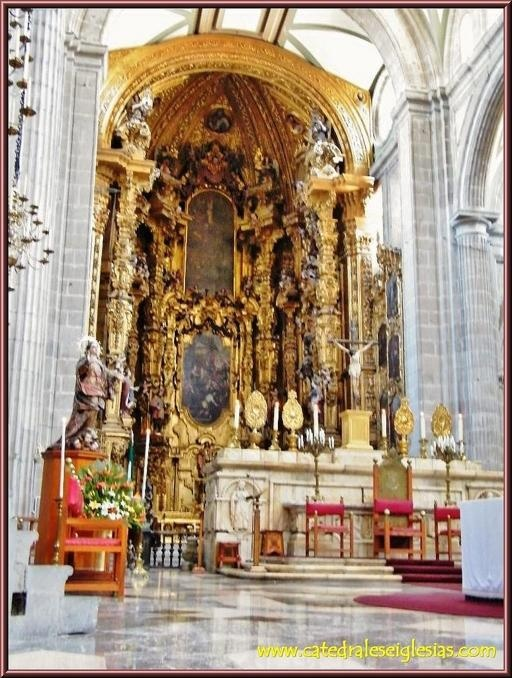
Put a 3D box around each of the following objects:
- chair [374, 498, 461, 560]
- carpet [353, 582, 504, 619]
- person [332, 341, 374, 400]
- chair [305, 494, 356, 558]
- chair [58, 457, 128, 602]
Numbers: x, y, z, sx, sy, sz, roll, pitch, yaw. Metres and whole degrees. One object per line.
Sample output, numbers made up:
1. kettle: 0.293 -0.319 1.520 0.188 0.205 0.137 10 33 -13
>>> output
1. chair: 2.167 2.616 8.889 0.959 0.780 0.321 12 -18 -32
2. carpet: 1.239 1.834 4.511 1.142 0.035 0.970 -13 -22 39
3. person: 2.453 0.817 16.327 0.940 1.984 0.350 1 -8 -10
4. chair: 0.963 2.491 8.611 0.641 0.729 1.003 -2 -15 9
5. chair: -1.236 1.429 4.938 0.397 1.014 0.468 3 -6 -25
